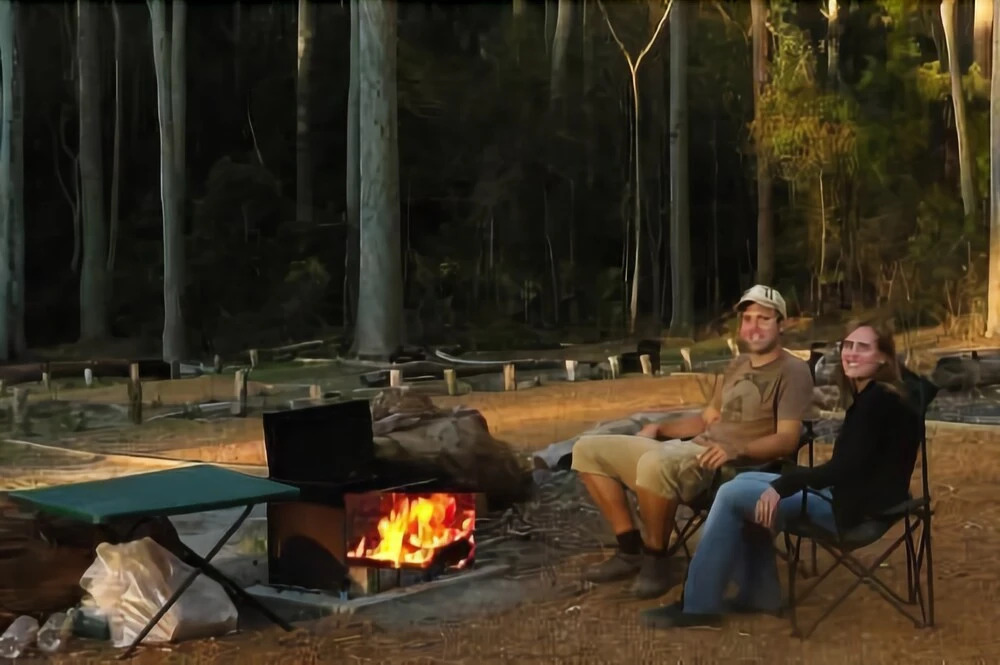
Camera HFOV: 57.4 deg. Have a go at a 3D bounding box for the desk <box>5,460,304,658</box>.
[{"bbox_3d":[-2.546,1.744,6.697,1.646,1.115,1.386,1,-1,-36],"label":"desk"}]

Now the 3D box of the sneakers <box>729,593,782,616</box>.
[{"bbox_3d":[1.874,2.053,6.832,0.422,0.180,0.150,-4,1,10],"label":"sneakers"}]

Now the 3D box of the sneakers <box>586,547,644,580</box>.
[{"bbox_3d":[0.909,1.879,7.423,0.515,0.240,0.192,-12,7,5],"label":"sneakers"}]
